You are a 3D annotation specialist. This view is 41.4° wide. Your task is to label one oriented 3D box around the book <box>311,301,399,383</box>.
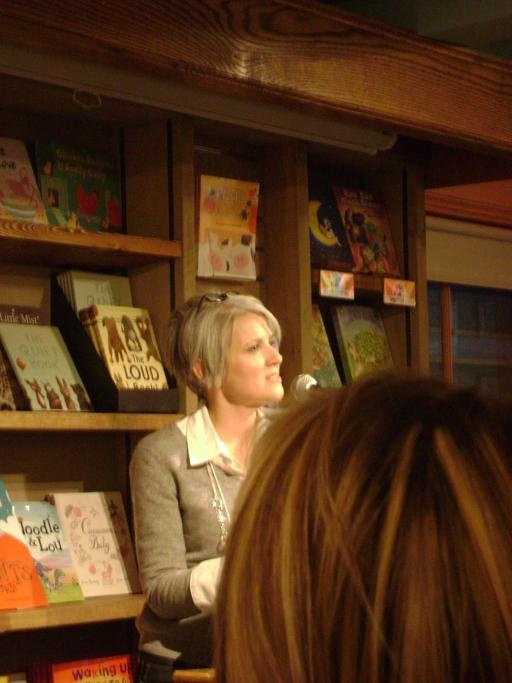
[{"bbox_3d":[0.392,-0.019,2.736,0.363,0.362,0.086,-1,-14,-27],"label":"book"}]
